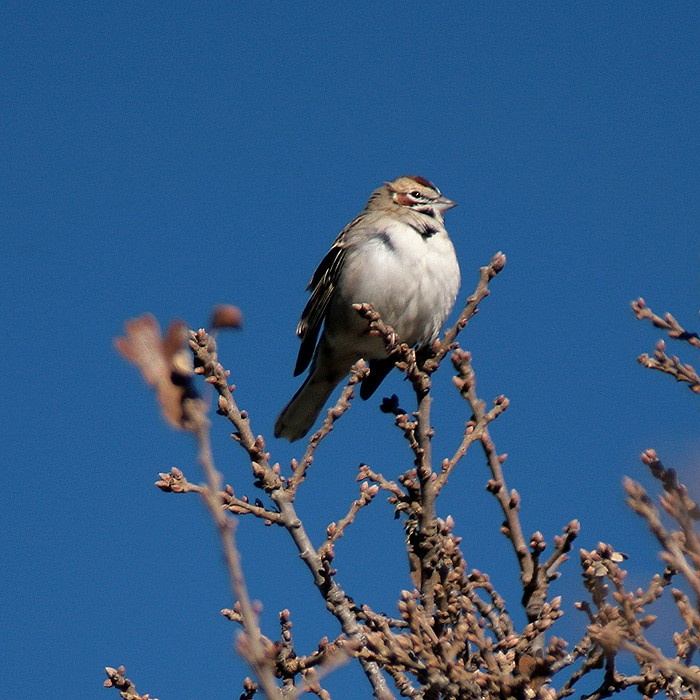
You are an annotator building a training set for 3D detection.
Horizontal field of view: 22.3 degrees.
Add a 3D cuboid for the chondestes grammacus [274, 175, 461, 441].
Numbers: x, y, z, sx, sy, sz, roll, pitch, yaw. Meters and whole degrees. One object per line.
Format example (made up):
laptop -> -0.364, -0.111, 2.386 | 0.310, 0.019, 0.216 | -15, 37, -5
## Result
chondestes grammacus -> 0.100, -0.291, 10.470 | 0.740, 1.263, 1.207 | 31, -44, -31
